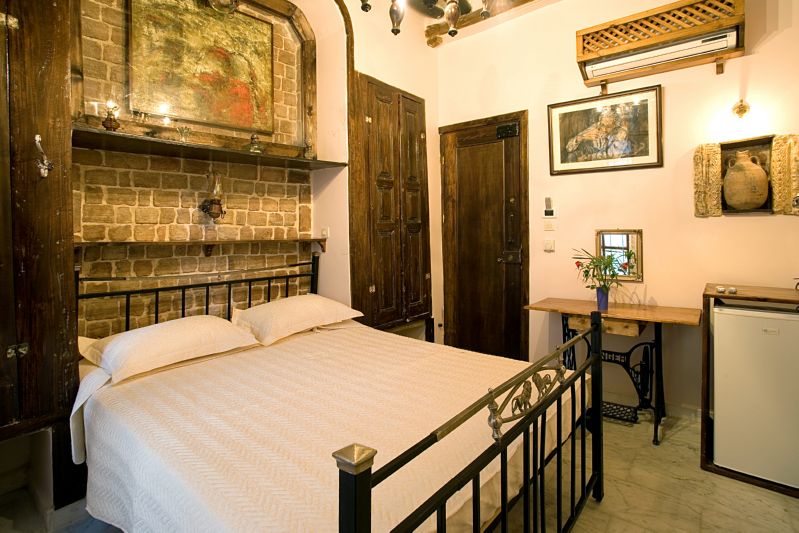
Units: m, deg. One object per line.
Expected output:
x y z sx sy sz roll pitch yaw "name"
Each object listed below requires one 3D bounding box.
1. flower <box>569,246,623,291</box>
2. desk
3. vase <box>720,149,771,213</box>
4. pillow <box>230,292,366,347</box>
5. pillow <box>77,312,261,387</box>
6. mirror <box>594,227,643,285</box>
1.677 0.027 4.708 0.239 0.319 0.243 -11 -9 6 "flower"
1.703 0.806 4.182 1.042 0.937 0.453 2 6 35 "desk"
2.740 -0.680 4.358 0.292 0.484 0.301 -6 -10 36 "vase"
-0.885 0.369 4.668 0.976 0.216 0.883 -10 17 -24 "pillow"
-1.606 0.532 3.863 0.518 0.156 0.637 18 18 39 "pillow"
1.908 -0.094 4.726 0.483 0.603 0.050 0 1 43 "mirror"
